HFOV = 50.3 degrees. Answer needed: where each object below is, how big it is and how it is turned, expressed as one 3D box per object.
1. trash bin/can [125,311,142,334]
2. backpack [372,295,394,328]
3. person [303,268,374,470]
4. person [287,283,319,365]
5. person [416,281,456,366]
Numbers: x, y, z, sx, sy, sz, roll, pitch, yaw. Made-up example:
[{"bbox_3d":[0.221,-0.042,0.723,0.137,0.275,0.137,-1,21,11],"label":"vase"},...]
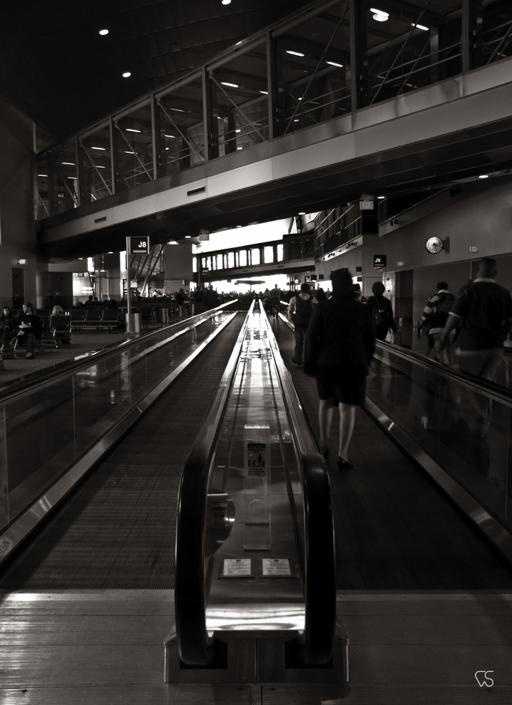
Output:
[{"bbox_3d":[-4.688,-1.048,20.617,0.639,1.234,0.773,-1,5,-5],"label":"trash bin/can"},{"bbox_3d":[1.903,-0.591,8.260,0.259,0.529,0.459,-1,-10,1],"label":"backpack"},{"bbox_3d":[0.673,0.152,4.416,0.543,1.632,0.617,0,6,14],"label":"person"},{"bbox_3d":[0.792,-0.539,9.409,0.356,1.465,0.416,-3,24,-5],"label":"person"},{"bbox_3d":[2.551,-0.370,7.674,0.358,1.403,0.455,-5,22,6],"label":"person"}]
